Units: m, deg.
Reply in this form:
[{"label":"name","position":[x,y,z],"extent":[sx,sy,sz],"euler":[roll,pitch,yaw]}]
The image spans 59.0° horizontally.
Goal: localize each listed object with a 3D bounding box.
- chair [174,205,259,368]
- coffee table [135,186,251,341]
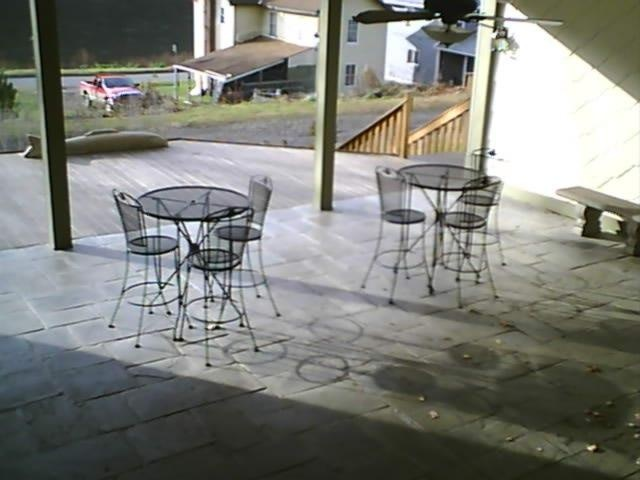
[{"label":"chair","position":[-0.920,0.443,5.060],"extent":[0.957,1.424,0.837],"euler":[-5,33,-18]},{"label":"coffee table","position":[-1.147,0.248,5.191],"extent":[1.253,1.260,1.149],"euler":[-10,27,-26]}]
